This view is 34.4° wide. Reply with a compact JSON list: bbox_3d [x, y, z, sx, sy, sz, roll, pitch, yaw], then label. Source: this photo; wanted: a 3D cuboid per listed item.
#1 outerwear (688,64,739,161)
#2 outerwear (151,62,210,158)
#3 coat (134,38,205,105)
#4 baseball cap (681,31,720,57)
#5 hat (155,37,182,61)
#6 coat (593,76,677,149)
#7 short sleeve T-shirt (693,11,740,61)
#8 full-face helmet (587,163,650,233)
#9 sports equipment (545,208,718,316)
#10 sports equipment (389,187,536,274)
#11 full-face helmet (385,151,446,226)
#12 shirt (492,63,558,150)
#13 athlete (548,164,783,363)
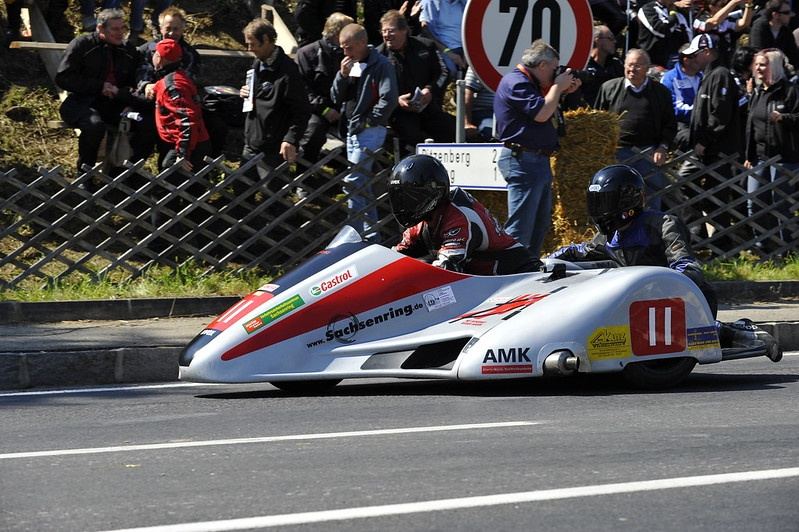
[{"bbox_3d":[4.089,-1.980,17.056,1.025,1.197,1.480,0,8,9],"label":"outerwear"},{"bbox_3d":[-2.697,-1.876,15.707,0.641,0.739,1.524,-20,5,-8],"label":"outerwear"},{"bbox_3d":[-2.905,-2.452,16.190,0.847,0.294,0.964,-14,30,-25],"label":"coat"},{"bbox_3d":[3.965,-2.976,17.296,0.713,0.194,0.368,-7,13,6],"label":"baseball cap"},{"bbox_3d":[-2.791,-2.629,15.673,0.352,0.170,0.240,33,41,2],"label":"hat"},{"bbox_3d":[2.956,-1.937,16.526,1.565,0.910,0.702,0,13,1],"label":"coat"},{"bbox_3d":[4.864,-3.509,19.869,0.278,0.646,0.345,3,16,43],"label":"short sleeve T-shirt"},{"bbox_3d":[2.039,-0.643,12.486,0.844,0.589,0.581,-2,1,-17],"label":"full-face helmet"},{"bbox_3d":[2.266,-0.189,12.739,1.933,0.501,0.581,7,23,41],"label":"sports equipment"},{"bbox_3d":[0.483,-0.265,12.557,1.640,0.667,1.106,2,13,-34],"label":"sports equipment"},{"bbox_3d":[0.166,-0.707,12.272,0.567,0.685,0.247,-1,10,0],"label":"full-face helmet"},{"bbox_3d":[1.522,-1.729,14.517,0.931,0.914,1.297,5,10,11],"label":"shirt"},{"bbox_3d":[2.466,-0.005,12.723,2.859,1.617,1.279,9,-6,-3],"label":"athlete"}]
